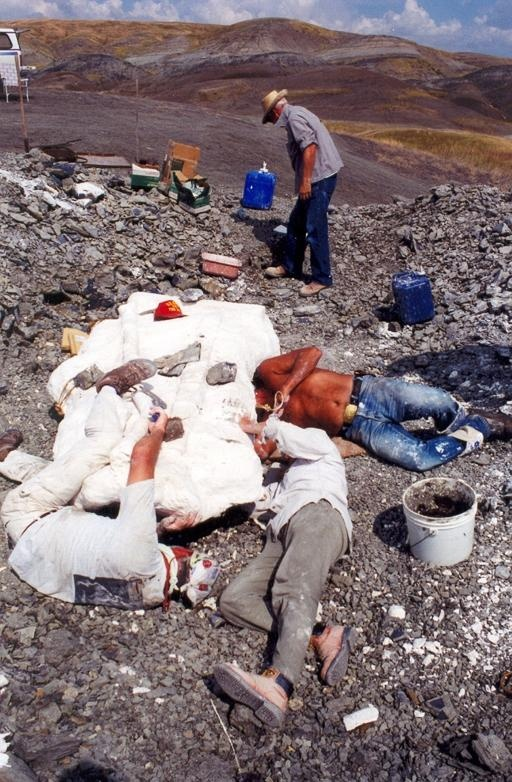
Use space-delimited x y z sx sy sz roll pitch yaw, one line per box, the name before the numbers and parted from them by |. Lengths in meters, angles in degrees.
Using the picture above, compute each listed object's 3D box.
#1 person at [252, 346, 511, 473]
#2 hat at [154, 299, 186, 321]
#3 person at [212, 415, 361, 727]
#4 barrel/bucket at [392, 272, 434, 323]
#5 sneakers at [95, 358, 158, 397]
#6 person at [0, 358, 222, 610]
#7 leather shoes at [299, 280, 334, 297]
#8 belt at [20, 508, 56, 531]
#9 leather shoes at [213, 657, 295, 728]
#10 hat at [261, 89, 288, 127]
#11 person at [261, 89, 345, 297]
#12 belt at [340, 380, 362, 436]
person | 0.628 0.085 3.271 1.414 0.518 0.596 1 26 12
hat | -0.502 -0.481 3.515 0.169 0.094 0.209 -2 21 -7
person | 0.172 0.632 2.316 0.398 0.543 1.116 -13 29 21
barrel/bucket | 1.161 -0.694 4.424 0.197 0.360 0.202 -10 40 9
sneakers | -0.623 -0.076 2.925 0.277 0.100 0.136 -33 79 -24
person | -0.664 0.412 2.548 0.674 0.369 0.920 14 32 -16
leather shoes | 0.520 -0.837 4.900 0.287 0.109 0.103 -10 53 -21
belt | -0.859 0.488 2.338 0.070 0.029 0.096 27 35 26
leather shoes | -0.001 0.993 1.953 0.240 0.086 0.152 31 14 15
hat | 0.130 -2.113 4.410 0.154 0.216 0.402 1 21 0
person | 0.350 -1.533 4.684 0.603 1.535 0.629 3 21 5
belt | 0.511 0.059 3.135 0.077 0.166 0.217 13 55 3
